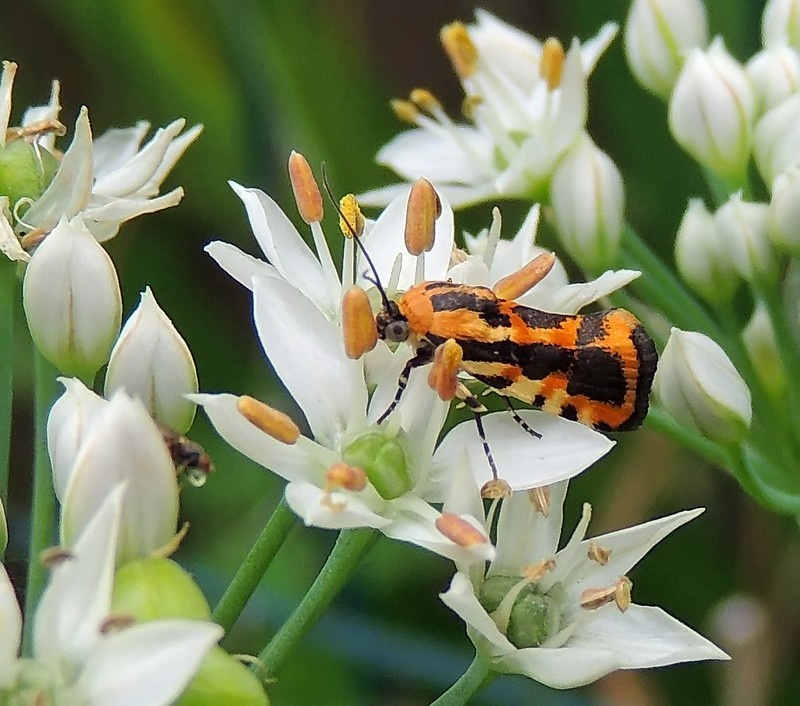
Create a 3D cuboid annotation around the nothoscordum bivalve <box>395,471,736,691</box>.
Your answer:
[{"bbox_3d":[0.301,0.400,2.227,0.454,0.240,0.473,48,26,23],"label":"nothoscordum bivalve"}]

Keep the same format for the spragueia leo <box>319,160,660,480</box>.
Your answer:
[{"bbox_3d":[0.152,-0.017,2.447,0.671,0.375,0.486,14,38,-1],"label":"spragueia leo"}]
